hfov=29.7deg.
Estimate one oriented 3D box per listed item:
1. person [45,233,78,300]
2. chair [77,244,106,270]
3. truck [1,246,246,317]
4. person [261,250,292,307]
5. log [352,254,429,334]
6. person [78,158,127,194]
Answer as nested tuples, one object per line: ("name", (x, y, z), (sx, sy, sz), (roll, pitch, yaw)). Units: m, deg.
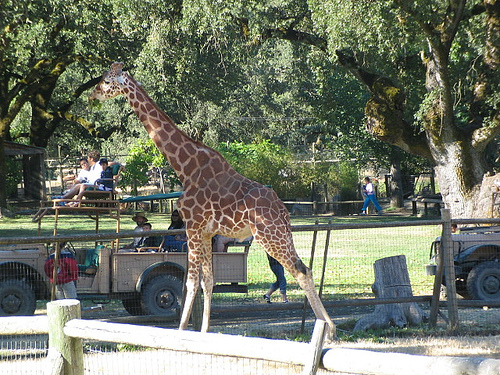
("person", (-4.568, 2.228, 22.967), (0.640, 1.741, 0.441), (1, 18, 6))
("chair", (-4.097, 1.827, 24.479), (0.630, 0.867, 0.562), (8, -9, -22))
("truck", (-3.746, 2.409, 24.376), (4.628, 1.946, 2.618), (3, -6, -12))
("person", (0.803, 2.146, 25.170), (0.774, 1.961, 0.424), (-1, 16, -3))
("log", (3.462, 2.520, 23.315), (1.933, 2.047, 1.609), (-2, 22, 35))
("person", (-4.060, -0.334, 25.060), (1.318, 1.019, 0.742), (1, 13, -21))
